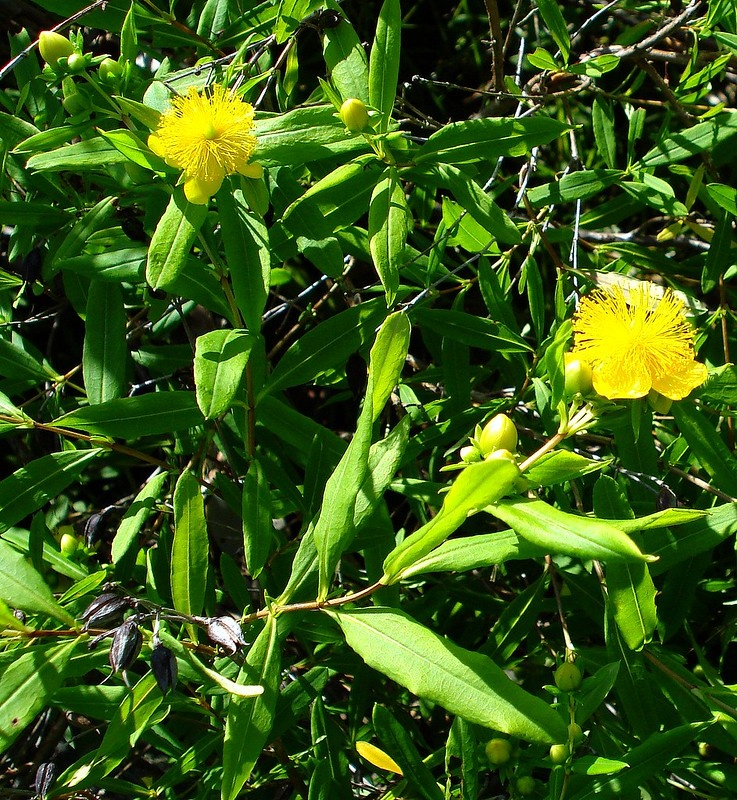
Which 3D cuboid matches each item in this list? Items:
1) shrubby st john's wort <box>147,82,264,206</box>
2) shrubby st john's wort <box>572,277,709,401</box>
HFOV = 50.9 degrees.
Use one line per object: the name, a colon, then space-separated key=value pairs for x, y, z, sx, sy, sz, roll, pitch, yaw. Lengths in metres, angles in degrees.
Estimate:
shrubby st john's wort: x=-0.205 y=-0.333 z=0.955 sx=0.135 sy=0.119 sz=0.077 roll=-22 pitch=67 yaw=11
shrubby st john's wort: x=0.322 y=-0.089 z=0.949 sx=0.168 sy=0.164 sz=0.085 roll=10 pitch=54 yaw=-3
